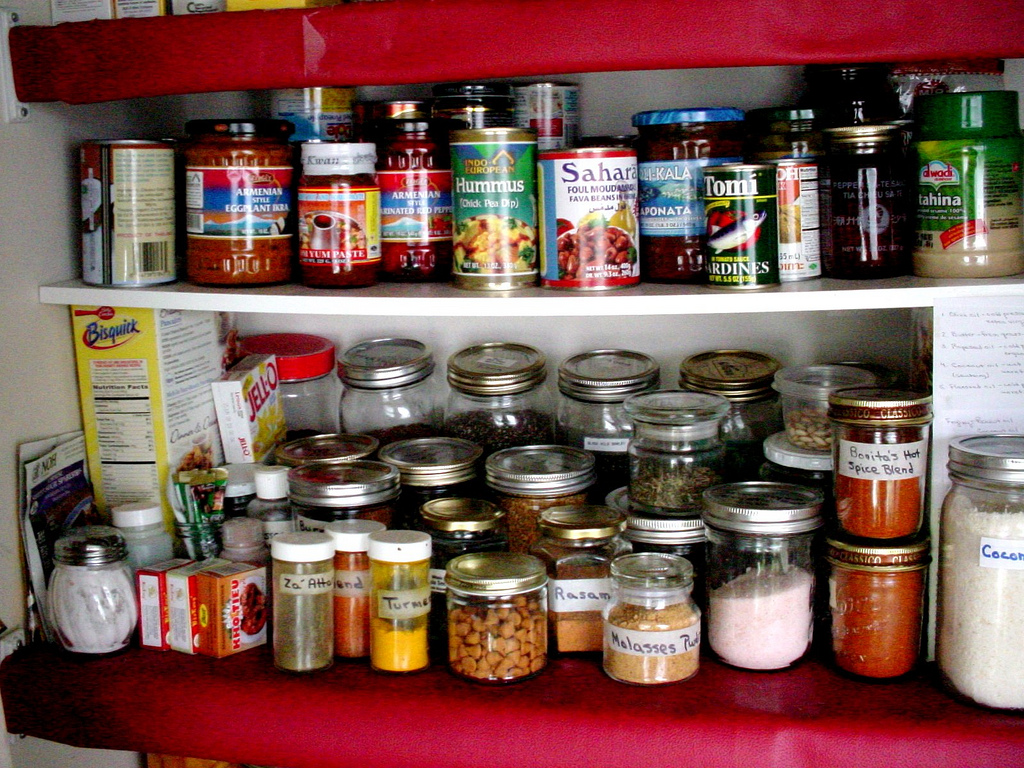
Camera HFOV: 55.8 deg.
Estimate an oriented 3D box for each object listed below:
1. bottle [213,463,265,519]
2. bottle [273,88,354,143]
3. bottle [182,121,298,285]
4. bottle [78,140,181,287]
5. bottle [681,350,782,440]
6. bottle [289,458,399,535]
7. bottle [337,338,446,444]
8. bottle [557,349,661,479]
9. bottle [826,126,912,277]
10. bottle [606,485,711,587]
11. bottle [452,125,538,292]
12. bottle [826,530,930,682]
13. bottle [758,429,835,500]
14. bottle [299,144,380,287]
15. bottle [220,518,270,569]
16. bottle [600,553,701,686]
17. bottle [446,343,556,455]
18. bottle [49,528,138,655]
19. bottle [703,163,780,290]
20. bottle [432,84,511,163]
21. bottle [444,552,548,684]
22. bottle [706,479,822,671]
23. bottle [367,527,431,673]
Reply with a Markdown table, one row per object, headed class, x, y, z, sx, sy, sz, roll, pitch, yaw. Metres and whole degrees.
| class | x | y | z | sx | sy | sz | roll | pitch | yaw |
| --- | --- | --- | --- | --- | --- | --- | --- | --- | --- |
| bottle | -0.430 | 0.166 | 1.522 | 0.109 | 0.071 | 0.086 | 0 | 9 | 3 |
| bottle | -0.304 | -0.425 | 1.557 | 0.190 | 0.043 | 0.113 | -1 | 7 | -7 |
| bottle | -0.398 | -0.264 | 1.420 | 0.172 | 0.241 | 0.065 | -9 | 17 | -8 |
| bottle | -0.575 | -0.255 | 1.449 | 0.173 | 0.218 | 0.068 | -10 | 17 | -12 |
| bottle | 0.340 | 0.011 | 1.621 | 0.185 | 0.127 | 0.177 | -5 | 14 | 1 |
| bottle | -0.248 | 0.160 | 1.425 | 0.146 | 0.069 | 0.123 | 1 | 4 | 19 |
| bottle | -0.225 | 0.019 | 1.671 | 0.187 | 0.133 | 0.162 | -16 | 26 | -30 |
| bottle | 0.161 | 0.065 | 1.633 | 0.199 | 0.200 | 0.153 | -10 | 31 | -18 |
| bottle | 0.497 | -0.256 | 1.362 | 0.106 | 0.211 | 0.062 | -4 | 17 | 13 |
| bottle | 0.224 | 0.216 | 1.408 | 0.171 | 0.113 | 0.137 | -4 | 10 | -16 |
| bottle | -0.023 | -0.246 | 1.364 | 0.133 | 0.224 | 0.049 | -7 | 17 | 1 |
| bottle | 0.496 | 0.299 | 1.299 | 0.129 | 0.189 | 0.072 | -3 | 17 | 14 |
| bottle | 0.415 | 0.134 | 1.460 | 0.088 | 0.059 | 0.066 | 14 | 1 | 11 |
| bottle | -0.249 | -0.249 | 1.413 | 0.118 | 0.213 | 0.073 | -18 | 19 | -32 |
| bottle | -0.407 | 0.250 | 1.473 | 0.086 | 0.070 | 0.064 | -3 | 10 | -6 |
| bottle | 0.187 | 0.322 | 1.350 | 0.170 | 0.119 | 0.139 | 0 | 4 | -22 |
| bottle | -0.024 | 0.026 | 1.635 | 0.194 | 0.144 | 0.181 | 0 | 27 | 0 |
| bottle | -0.613 | 0.301 | 1.407 | 0.112 | 0.175 | 0.085 | -18 | 19 | -33 |
| bottle | 0.314 | -0.215 | 1.321 | 0.100 | 0.170 | 0.051 | -5 | 17 | 8 |
| bottle | -0.065 | -0.397 | 1.492 | 0.143 | 0.088 | 0.112 | 6 | -17 | -27 |
| bottle | -0.053 | 0.342 | 1.366 | 0.190 | 0.129 | 0.152 | 1 | -8 | -15 |
| bottle | 0.357 | 0.265 | 1.357 | 0.164 | 0.235 | 0.156 | -6 | 16 | 2 |
| bottle | -0.157 | 0.297 | 1.346 | 0.112 | 0.194 | 0.088 | -10 | 16 | -9 |
